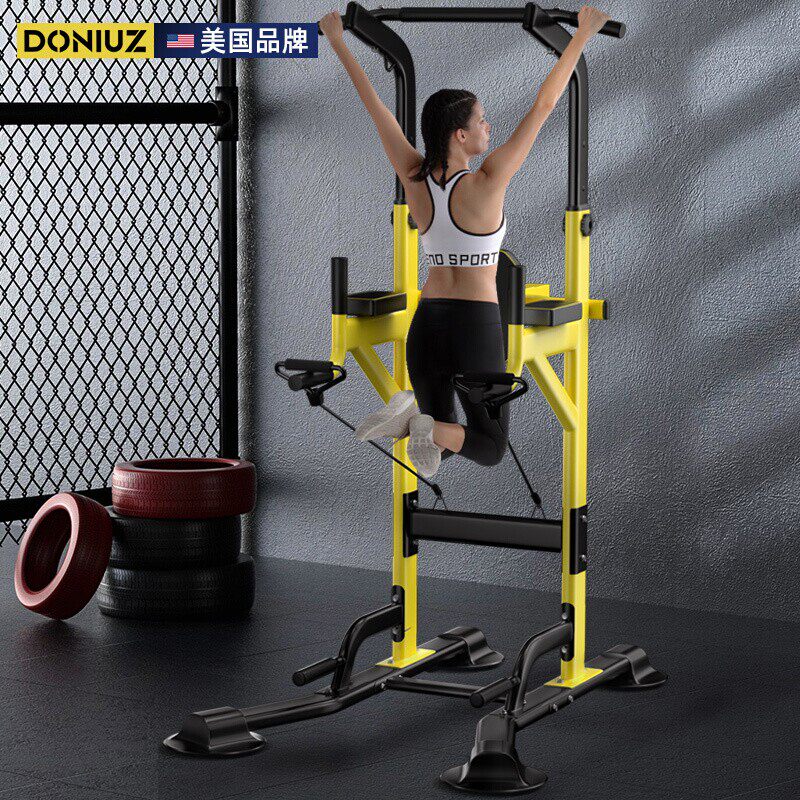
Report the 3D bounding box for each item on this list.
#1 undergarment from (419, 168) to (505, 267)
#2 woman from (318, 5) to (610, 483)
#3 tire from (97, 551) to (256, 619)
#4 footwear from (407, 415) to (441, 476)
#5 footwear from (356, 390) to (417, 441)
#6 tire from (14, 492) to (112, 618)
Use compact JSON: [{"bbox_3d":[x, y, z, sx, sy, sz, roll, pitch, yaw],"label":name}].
[{"bbox_3d":[0.145,-0.467,2.236,0.195,0.227,0.144,1,14,34],"label":"undergarment"},{"bbox_3d":[0.162,-0.421,2.203,0.672,1.200,0.536,-1,-1,-13],"label":"woman"},{"bbox_3d":[-0.845,0.814,3.791,0.749,0.219,0.714,-3,-12,20],"label":"tire"},{"bbox_3d":[0.057,0.109,2.006,0.066,0.150,0.109,-4,39,13],"label":"footwear"},{"bbox_3d":[-0.024,0.040,2.070,0.070,0.082,0.208,3,5,40],"label":"footwear"},{"bbox_3d":[-1.340,0.607,3.488,0.152,0.424,0.461,9,-3,15],"label":"tire"}]
